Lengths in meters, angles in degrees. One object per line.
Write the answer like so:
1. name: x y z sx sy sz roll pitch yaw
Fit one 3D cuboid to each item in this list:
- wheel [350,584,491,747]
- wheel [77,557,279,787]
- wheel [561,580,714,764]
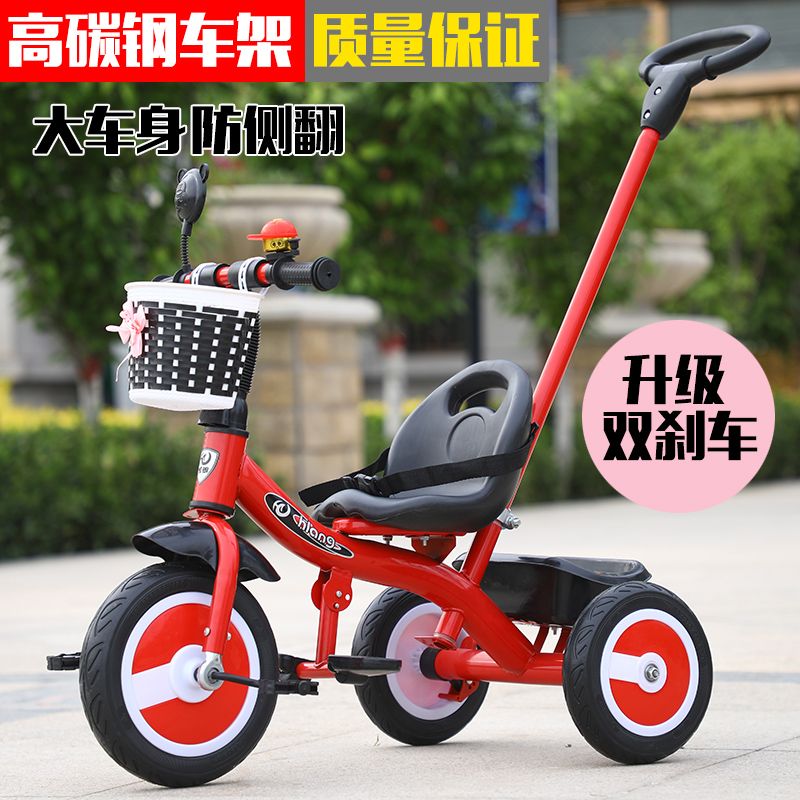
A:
1. wheel: 0.079 0.843 5.508 0.444 0.464 0.147 38 -15 -27
2. wheel: -0.620 0.795 4.917 0.659 0.653 0.215 14 -8 -37
3. wheel: 0.718 0.831 5.246 0.596 0.556 0.201 -4 -4 -22
